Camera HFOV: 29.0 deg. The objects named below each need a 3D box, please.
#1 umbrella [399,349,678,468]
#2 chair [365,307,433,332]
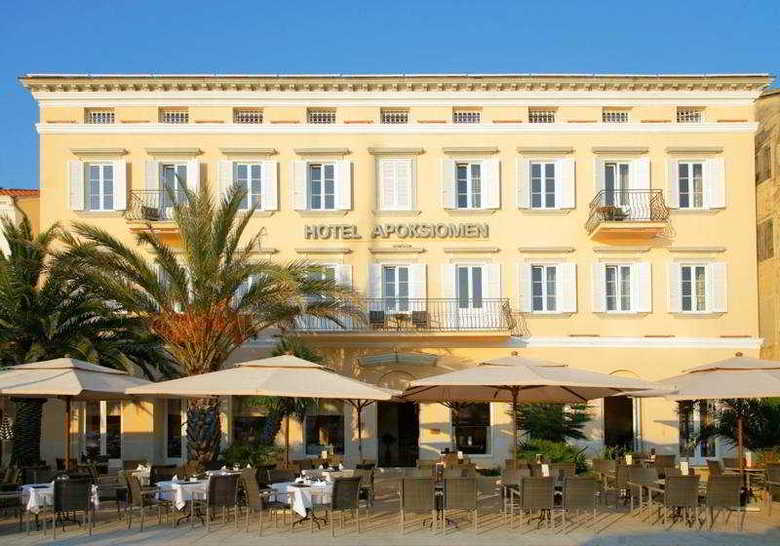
[{"bbox_3d":[4.231,3.425,45.918,4.957,2.054,5.059,2,-5,-5],"label":"umbrella"},{"bbox_3d":[0.338,1.741,55.641,2.285,0.799,0.437,-3,-9,-2],"label":"chair"}]
